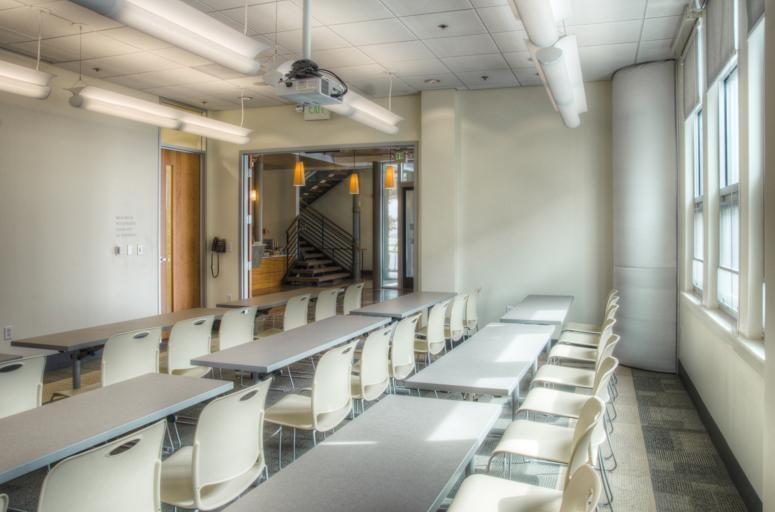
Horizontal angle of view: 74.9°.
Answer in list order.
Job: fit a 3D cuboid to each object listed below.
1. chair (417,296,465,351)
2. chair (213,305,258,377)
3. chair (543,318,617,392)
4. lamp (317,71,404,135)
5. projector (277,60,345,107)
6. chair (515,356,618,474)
[{"bbox_3d":[0.717,0.899,6.827,0.415,0.649,1.011,3,4,25],"label":"chair"},{"bbox_3d":[-1.780,0.876,5.972,0.588,0.748,0.484,4,4,33],"label":"chair"},{"bbox_3d":[2.088,1.094,5.545,0.419,0.639,0.992,8,10,29],"label":"chair"},{"bbox_3d":[-0.298,-2.028,7.277,0.478,0.418,2.626,0,3,25],"label":"lamp"},{"bbox_3d":[-0.761,-1.733,5.201,0.530,0.338,0.526,0,-3,27],"label":"projector"},{"bbox_3d":[1.500,1.354,4.277,0.807,0.984,1.019,7,12,25],"label":"chair"}]
